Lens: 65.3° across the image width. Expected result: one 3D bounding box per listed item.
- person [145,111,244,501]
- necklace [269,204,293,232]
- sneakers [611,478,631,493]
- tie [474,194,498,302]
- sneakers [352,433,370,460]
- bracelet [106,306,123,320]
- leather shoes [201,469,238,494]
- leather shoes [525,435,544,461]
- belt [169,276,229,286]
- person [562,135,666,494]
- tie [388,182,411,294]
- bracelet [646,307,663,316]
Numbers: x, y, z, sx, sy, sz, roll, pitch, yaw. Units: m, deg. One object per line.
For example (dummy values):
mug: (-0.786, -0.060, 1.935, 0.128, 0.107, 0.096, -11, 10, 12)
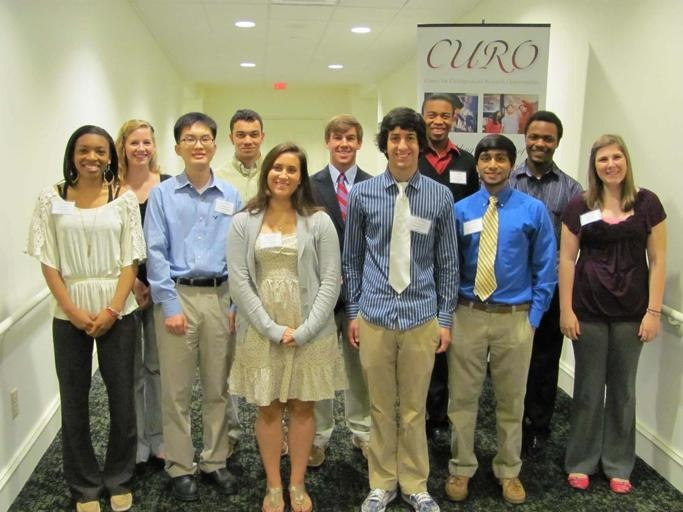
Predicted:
person: (-0.824, 0.299, 3.123, 0.614, 2.232, 0.597, -2, 4, -15)
necklace: (-0.332, -0.201, 2.976, 0.134, 0.140, 0.041, 1, -12, 1)
sneakers: (1.712, 1.409, 3.238, 0.153, 0.062, 0.073, 0, 12, -5)
tie: (0.843, -0.038, 3.063, 0.125, 0.591, 0.152, 4, 12, 14)
sneakers: (0.126, 1.291, 3.559, 0.068, 0.212, 0.088, -5, 43, 3)
bracelet: (-1.247, 0.315, 2.931, 0.026, 0.067, 0.058, -45, 6, -7)
leather shoes: (-0.743, 1.352, 3.226, 0.246, 0.104, 0.093, 4, 0, 42)
leather shoes: (1.297, 1.300, 3.576, 0.126, 0.132, 0.043, 11, -32, -4)
belt: (-0.813, 0.148, 3.077, 0.297, 0.064, 0.050, -2, 12, -13)
person: (1.606, 0.350, 3.242, 0.580, 2.132, 0.453, 5, 12, 22)
tie: (0.326, -0.100, 2.936, 0.113, 0.592, 0.160, 2, 11, 5)
bracelet: (1.850, 0.334, 3.155, 0.072, 0.075, 0.025, 12, 7, -31)
